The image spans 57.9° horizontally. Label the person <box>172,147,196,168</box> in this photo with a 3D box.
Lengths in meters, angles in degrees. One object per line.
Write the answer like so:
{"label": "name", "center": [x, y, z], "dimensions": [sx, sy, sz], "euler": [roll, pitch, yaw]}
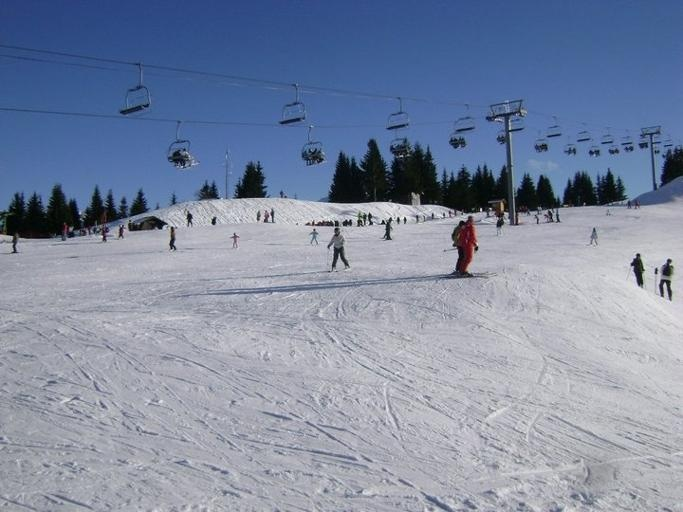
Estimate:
{"label": "person", "center": [-7.073, -4.313, 27.111], "dimensions": [0.982, 0.794, 1.358], "euler": [-2, 8, -14]}

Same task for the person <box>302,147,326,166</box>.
{"label": "person", "center": [-1.413, -4.863, 30.198], "dimensions": [0.938, 0.747, 2.364], "euler": [-1, 8, -5]}
